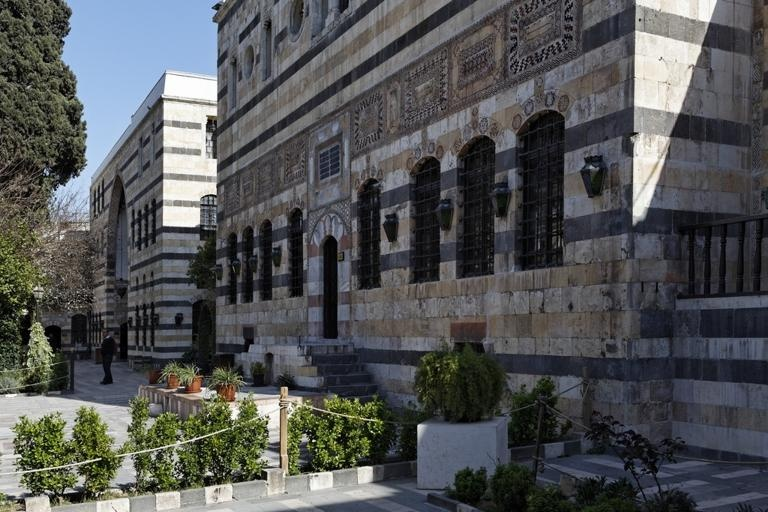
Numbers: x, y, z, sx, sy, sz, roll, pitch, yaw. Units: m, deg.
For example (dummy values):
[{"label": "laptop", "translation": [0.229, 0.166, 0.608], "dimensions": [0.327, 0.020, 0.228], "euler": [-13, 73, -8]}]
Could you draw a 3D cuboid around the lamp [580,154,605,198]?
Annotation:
[{"label": "lamp", "translation": [4.708, -1.800, 19.679], "dimensions": [0.747, 1.023, 0.569], "euler": [-4, -8, 26]}]
